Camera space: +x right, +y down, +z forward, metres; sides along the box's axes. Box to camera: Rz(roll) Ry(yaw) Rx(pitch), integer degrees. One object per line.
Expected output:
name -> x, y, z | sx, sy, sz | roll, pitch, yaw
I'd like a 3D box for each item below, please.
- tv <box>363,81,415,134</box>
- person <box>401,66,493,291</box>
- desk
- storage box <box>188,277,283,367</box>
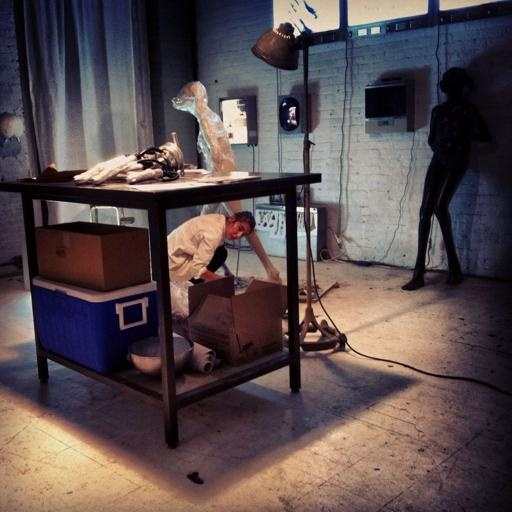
tv -> 1.392, -1.541, 5.029 | 0.216, 0.495, 0.447 | -10, 14, -42
person -> 1.733, -0.713, 4.562 | 0.728, 1.994, 0.309 | -3, 9, -9
desk -> -0.458, 0.293, 2.661 | 1.510, 1.443, 1.177 | 9, 15, 41
storage box -> -0.102, 0.306, 2.575 | 0.393, 0.340, 0.399 | 9, 13, 44
